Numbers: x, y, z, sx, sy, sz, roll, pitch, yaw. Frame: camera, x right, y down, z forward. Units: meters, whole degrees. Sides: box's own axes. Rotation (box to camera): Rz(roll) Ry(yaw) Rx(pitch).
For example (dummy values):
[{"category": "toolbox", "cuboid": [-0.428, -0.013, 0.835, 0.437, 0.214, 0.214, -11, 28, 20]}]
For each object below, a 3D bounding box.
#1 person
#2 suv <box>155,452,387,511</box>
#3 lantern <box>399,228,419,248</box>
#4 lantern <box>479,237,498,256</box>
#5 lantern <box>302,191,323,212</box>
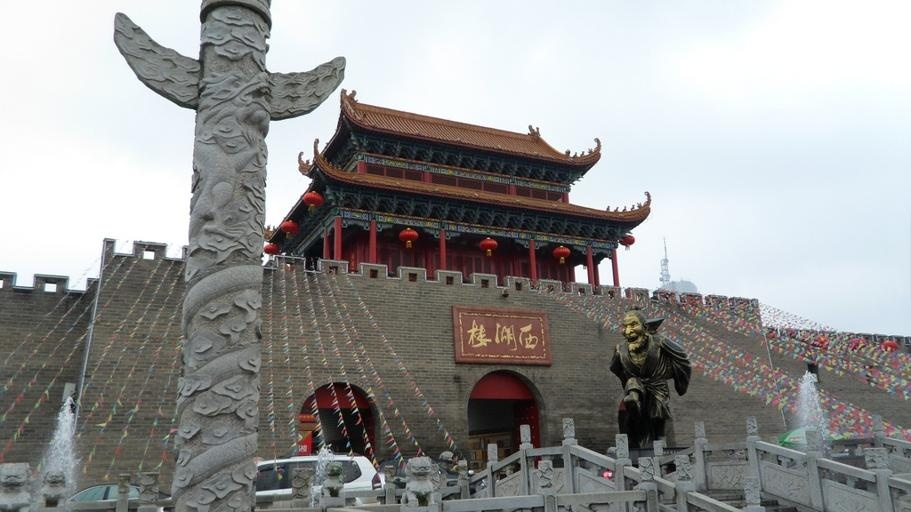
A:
[{"category": "person", "cuboid": [4.587, 2.907, 17.523, 1.677, 3.257, 1.144, -4, -19, 10]}, {"category": "suv", "cuboid": [-3.113, 5.048, 16.780, 2.867, 1.085, 2.177, 1, -16, -6]}, {"category": "lantern", "cuboid": [-1.677, -0.699, 26.358, 0.744, 0.714, 0.704, 10, -23, -31]}, {"category": "lantern", "cuboid": [1.211, -0.359, 27.324, 0.771, 0.769, 0.713, 1, 5, 4]}, {"category": "lantern", "cuboid": [-5.050, -2.022, 25.830, 0.794, 0.790, 0.720, 0, -24, -1]}]
